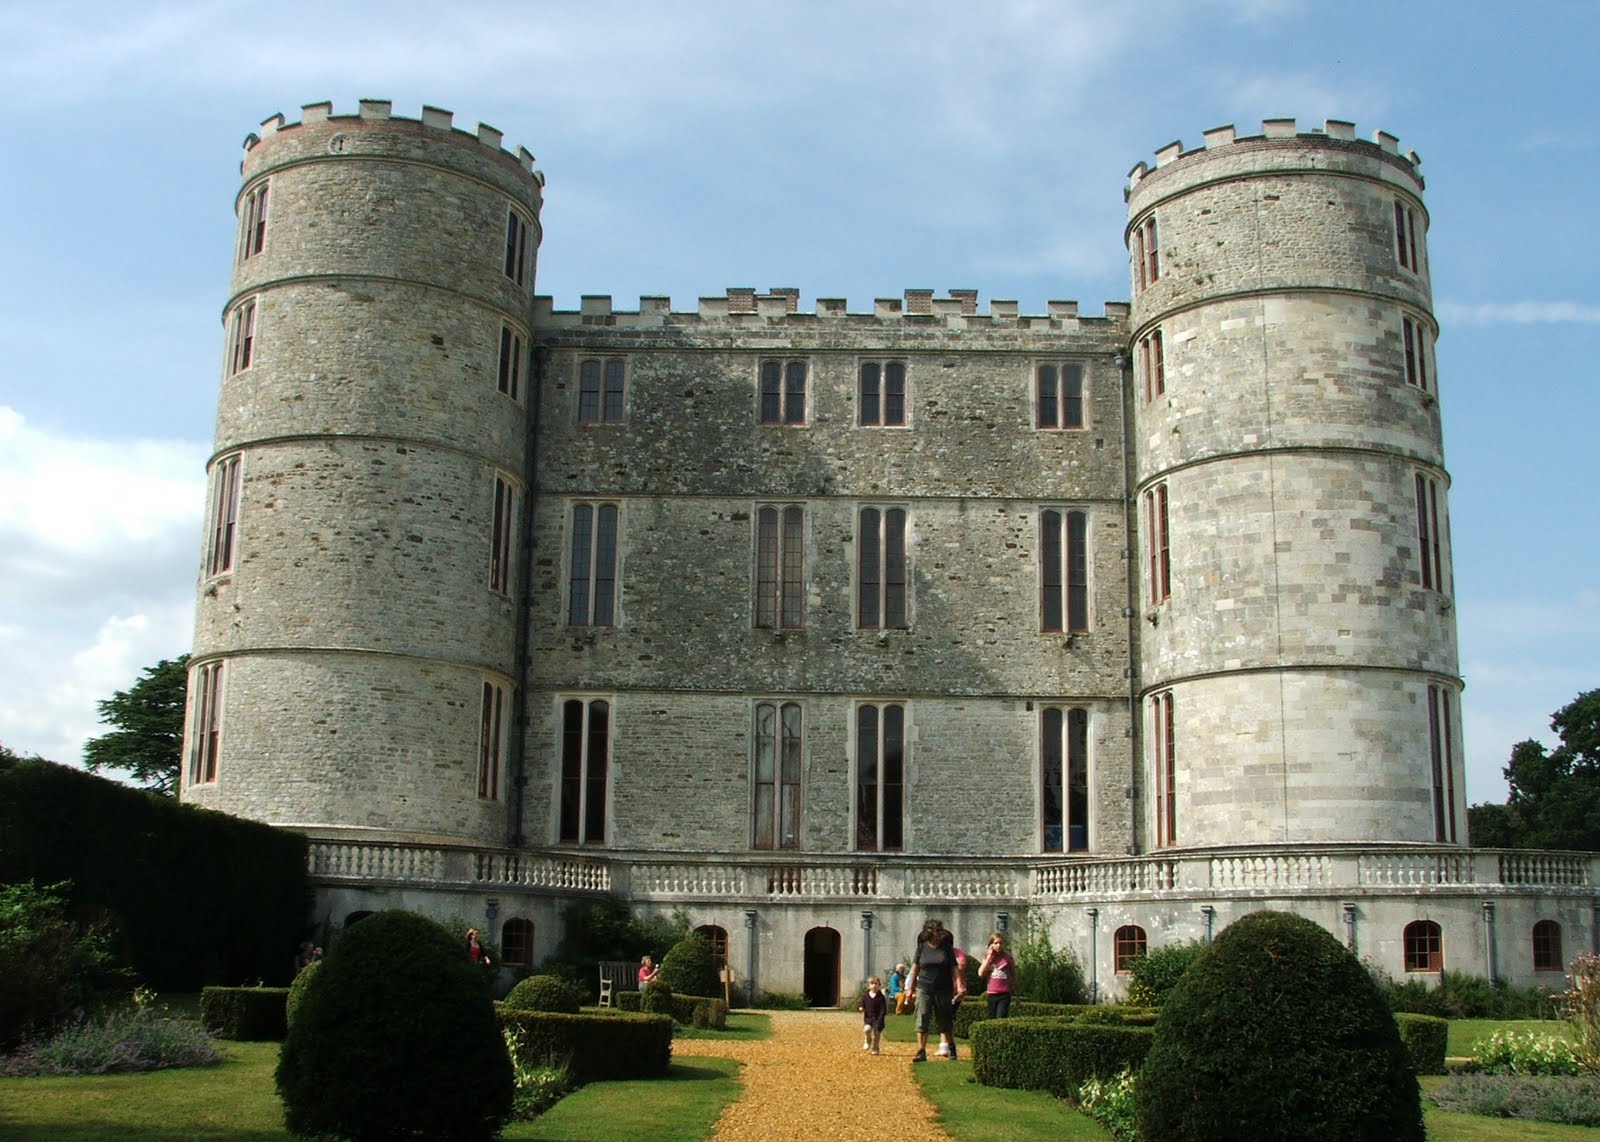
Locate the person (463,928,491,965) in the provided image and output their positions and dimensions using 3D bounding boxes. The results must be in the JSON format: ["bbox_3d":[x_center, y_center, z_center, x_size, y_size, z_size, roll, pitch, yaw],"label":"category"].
[{"bbox_3d":[-6.214,7.294,35.779,0.526,0.695,1.302,0,-9,-1],"label":"person"}]

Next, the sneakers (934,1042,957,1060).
[{"bbox_3d":[2.312,7.777,29.841,0.200,0.209,0.484,-2,-22,8],"label":"sneakers"}]
